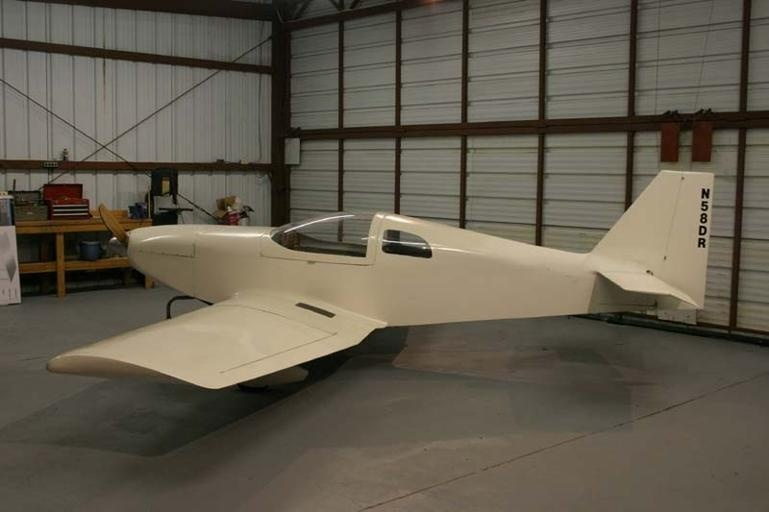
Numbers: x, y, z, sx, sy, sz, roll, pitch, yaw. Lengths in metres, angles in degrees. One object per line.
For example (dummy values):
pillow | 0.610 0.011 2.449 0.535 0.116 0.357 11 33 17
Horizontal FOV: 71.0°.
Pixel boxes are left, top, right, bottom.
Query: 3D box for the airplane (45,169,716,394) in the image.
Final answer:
airplane | 0.010 -0.062 5.872 6.020 1.705 2.716 -2 9 -13

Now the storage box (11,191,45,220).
storage box | -5.703 -0.789 8.622 0.482 0.461 0.234 -5 11 -30

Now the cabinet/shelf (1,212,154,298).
cabinet/shelf | -5.143 -0.125 9.007 1.395 1.454 2.510 1 2 30

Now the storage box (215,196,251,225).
storage box | -3.036 -0.885 10.702 0.669 0.425 0.631 0 6 -10

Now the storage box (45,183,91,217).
storage box | -5.278 -0.896 8.920 0.455 0.504 0.608 18 17 34
